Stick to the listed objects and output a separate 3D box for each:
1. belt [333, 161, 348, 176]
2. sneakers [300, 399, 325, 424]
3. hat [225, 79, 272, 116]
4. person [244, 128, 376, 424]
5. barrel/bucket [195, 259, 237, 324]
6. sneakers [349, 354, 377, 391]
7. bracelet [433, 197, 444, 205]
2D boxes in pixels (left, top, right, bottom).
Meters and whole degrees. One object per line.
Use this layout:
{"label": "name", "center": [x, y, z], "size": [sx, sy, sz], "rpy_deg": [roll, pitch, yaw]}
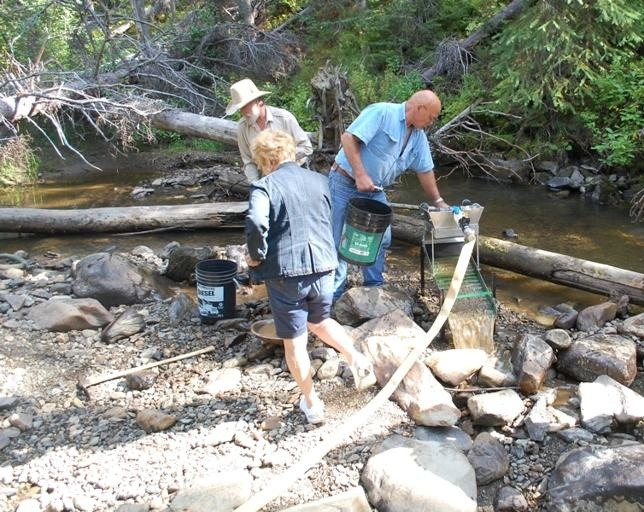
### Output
{"label": "belt", "center": [0.190, -0.900, 5.564], "size": [0.122, 0.122, 0.124], "rpy_deg": [37, -11, 16]}
{"label": "sneakers", "center": [-0.083, 1.246, 4.425], "size": [0.128, 0.099, 0.280], "rpy_deg": [-12, 25, -41]}
{"label": "hat", "center": [-0.730, -1.586, 5.412], "size": [0.506, 0.208, 0.390], "rpy_deg": [-29, 28, -13]}
{"label": "person", "center": [-0.117, 0.206, 4.228], "size": [0.930, 2.296, 0.710], "rpy_deg": [-2, 23, -7]}
{"label": "barrel/bucket", "center": [-1.115, 0.364, 5.964], "size": [0.721, 0.636, 0.675], "rpy_deg": [1, 18, 0]}
{"label": "sneakers", "center": [0.350, 1.000, 4.629], "size": [0.226, 0.330, 0.130], "rpy_deg": [-27, 25, -8]}
{"label": "bracelet", "center": [1.235, -0.584, 5.702], "size": [0.106, 0.067, 0.099], "rpy_deg": [-5, 15, -9]}
